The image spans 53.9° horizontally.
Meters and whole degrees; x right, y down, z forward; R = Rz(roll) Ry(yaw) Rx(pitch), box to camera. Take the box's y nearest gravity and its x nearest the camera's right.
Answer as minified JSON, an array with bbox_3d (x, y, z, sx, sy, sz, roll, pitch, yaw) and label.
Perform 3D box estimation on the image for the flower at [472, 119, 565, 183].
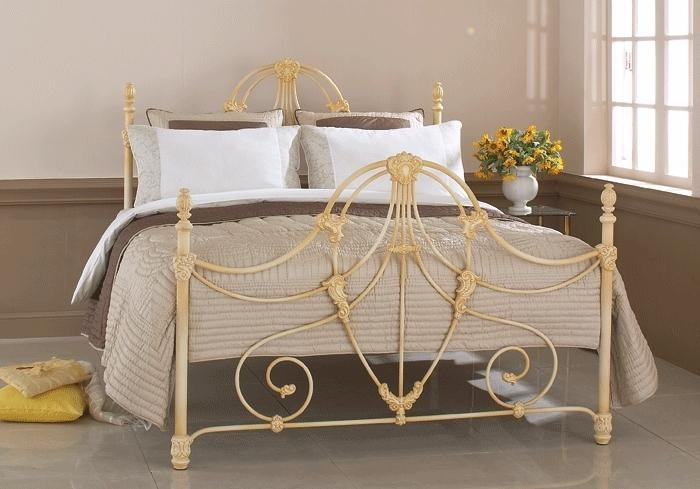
[{"bbox_3d":[1.060,-0.580,4.539,0.498,0.319,0.451,1,-1,0],"label":"flower"}]

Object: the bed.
[{"bbox_3d":[-0.091,-0.145,3.838,2.256,1.818,2.575,-3,12,-17],"label":"bed"}]

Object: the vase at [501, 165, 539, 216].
[{"bbox_3d":[1.041,-0.357,4.368,0.288,0.353,0.280,-2,6,-18],"label":"vase"}]
